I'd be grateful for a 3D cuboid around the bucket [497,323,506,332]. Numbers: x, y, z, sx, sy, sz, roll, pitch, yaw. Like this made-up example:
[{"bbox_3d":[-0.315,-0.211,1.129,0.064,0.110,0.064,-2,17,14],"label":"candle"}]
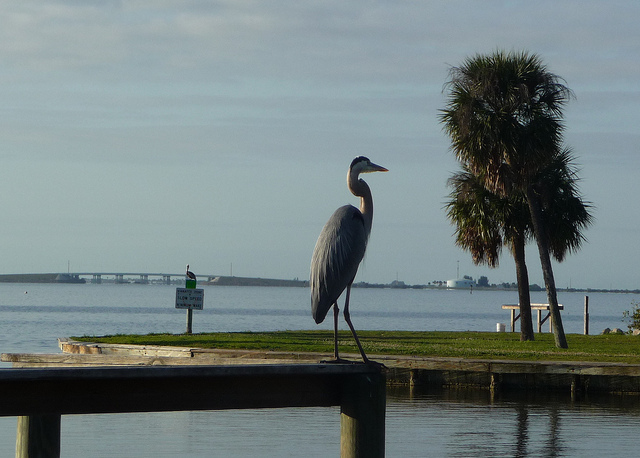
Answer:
[{"bbox_3d":[7.933,4.340,71.325,0.360,0.451,0.379,0,0,0],"label":"bucket"}]
